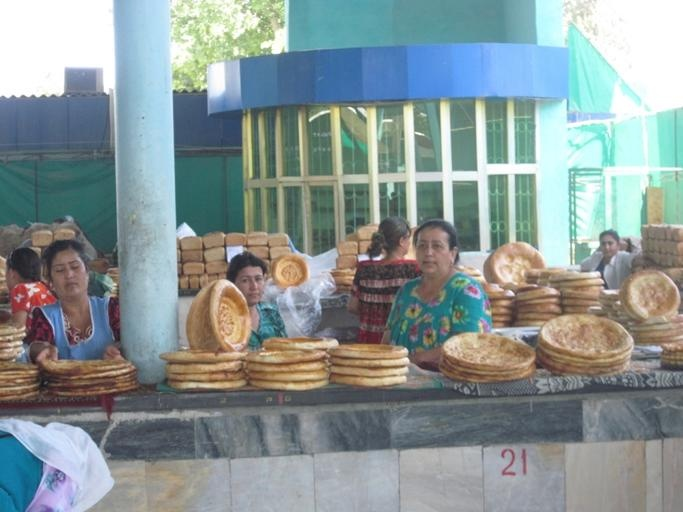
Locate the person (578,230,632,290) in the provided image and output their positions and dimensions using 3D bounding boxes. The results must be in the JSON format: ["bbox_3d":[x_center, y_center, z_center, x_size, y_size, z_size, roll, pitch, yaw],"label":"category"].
[{"bbox_3d":[4.197,0.066,22.137,0.270,0.947,0.960,13,-18,-24],"label":"person"}]
